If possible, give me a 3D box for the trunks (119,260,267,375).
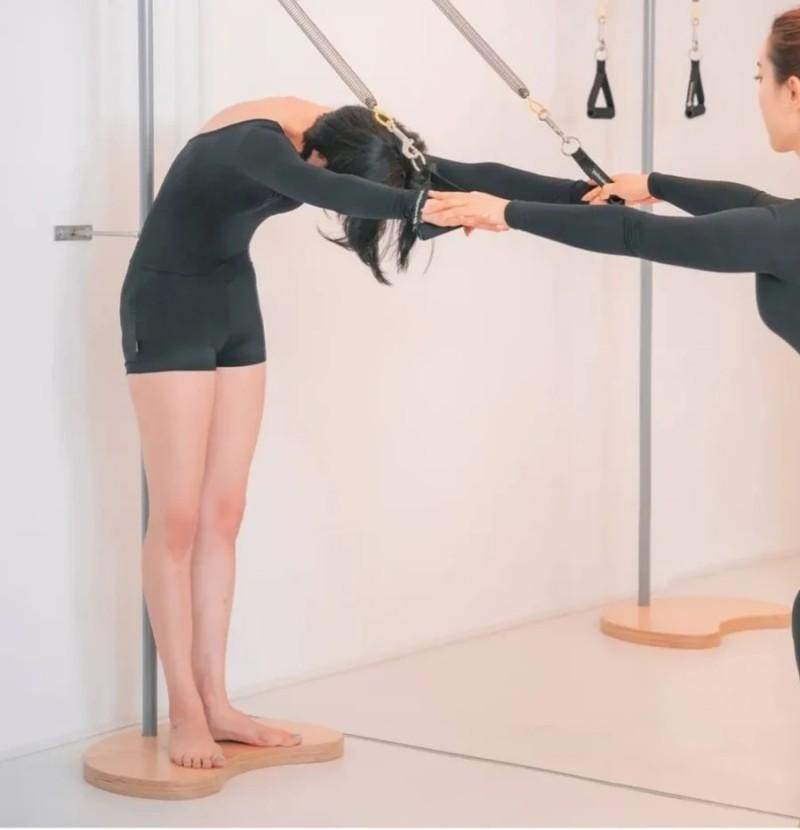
[{"bbox_3d":[-0.377,-0.190,2.089,0.339,0.236,0.225,7,4,13],"label":"trunks"}]

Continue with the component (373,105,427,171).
[{"bbox_3d":[0.008,-0.518,1.907,0.041,0.162,0.070,-33,23,24],"label":"component"}]
